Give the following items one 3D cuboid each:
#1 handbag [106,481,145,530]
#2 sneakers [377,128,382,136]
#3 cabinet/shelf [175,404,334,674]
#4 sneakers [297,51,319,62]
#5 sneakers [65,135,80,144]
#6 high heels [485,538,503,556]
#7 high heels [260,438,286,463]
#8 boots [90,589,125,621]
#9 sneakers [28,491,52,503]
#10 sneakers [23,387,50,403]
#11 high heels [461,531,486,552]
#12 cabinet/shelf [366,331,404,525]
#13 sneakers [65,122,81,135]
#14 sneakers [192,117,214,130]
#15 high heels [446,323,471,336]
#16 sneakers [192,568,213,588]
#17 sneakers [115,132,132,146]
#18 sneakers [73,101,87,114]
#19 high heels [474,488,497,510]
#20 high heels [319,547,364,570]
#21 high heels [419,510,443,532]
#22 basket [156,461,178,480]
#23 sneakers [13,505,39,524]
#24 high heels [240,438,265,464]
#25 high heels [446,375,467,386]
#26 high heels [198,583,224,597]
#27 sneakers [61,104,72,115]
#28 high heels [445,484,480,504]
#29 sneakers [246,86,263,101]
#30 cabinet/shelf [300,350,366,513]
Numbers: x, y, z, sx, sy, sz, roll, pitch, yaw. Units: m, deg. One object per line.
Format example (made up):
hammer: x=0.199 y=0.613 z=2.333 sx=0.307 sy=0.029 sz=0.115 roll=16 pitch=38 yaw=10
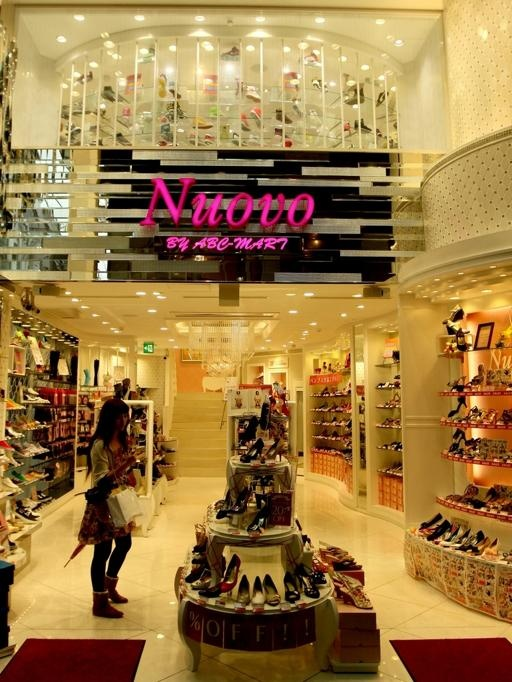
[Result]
handbag: x=-0.911 y=1.163 z=3.704 sx=0.149 sy=0.275 sz=0.239 roll=9 pitch=1 yaw=34
sneakers: x=1.963 y=-3.341 z=8.474 sx=0.076 sy=0.131 sz=0.085 roll=-7 pitch=-11 yaw=1
cabinet/shelf: x=0.016 y=1.376 z=3.653 sx=0.867 sy=1.255 sz=1.447 roll=-1 pitch=-14 yaw=0
sneakers: x=0.820 y=-4.473 z=8.299 sx=0.184 sy=0.085 sz=0.244 roll=0 pitch=1 yaw=-5
sneakers: x=-2.872 y=-3.147 z=8.272 sx=0.147 sy=0.194 sz=0.065 roll=-9 pitch=-10 yaw=-9
high heels: x=1.862 y=1.574 z=4.107 sx=0.130 sy=0.144 sz=0.373 roll=-8 pitch=-15 yaw=26
high heels: x=0.124 y=0.780 z=3.581 sx=0.108 sy=0.244 sz=0.085 roll=0 pitch=29 yaw=-9
boots: x=-1.019 y=1.882 z=3.784 sx=0.317 sy=0.209 sz=0.114 roll=0 pitch=-6 yaw=-4
sneakers: x=-2.836 y=2.045 z=6.974 sx=0.301 sy=0.125 sz=0.107 roll=1 pitch=-2 yaw=12
sneakers: x=-2.728 y=0.666 z=6.566 sx=0.274 sy=0.088 sz=0.200 roll=-1 pitch=0 yaw=1
high heels: x=1.760 y=1.619 z=4.285 sx=0.101 sy=0.118 sz=0.300 roll=-4 pitch=-12 yaw=32
cabinet/shelf: x=1.969 y=1.146 z=7.586 sx=0.303 sy=2.753 sz=0.593 roll=8 pitch=-16 yaw=-13
sneakers: x=-2.868 y=-3.345 z=8.422 sx=0.155 sy=0.183 sz=0.170 roll=8 pitch=1 yaw=-21
sneakers: x=-0.838 y=-3.351 z=8.189 sx=0.232 sy=0.186 sz=0.359 roll=7 pitch=2 yaw=-41
high heels: x=1.989 y=-0.110 z=5.124 sx=0.274 sy=0.111 sz=0.089 roll=-3 pitch=4 yaw=-1
sneakers: x=-0.317 y=1.422 z=3.160 sx=0.056 sy=0.068 sz=0.165 roll=-7 pitch=-16 yaw=13
sneakers: x=-2.051 y=-3.120 z=8.165 sx=0.212 sy=0.226 sz=0.334 roll=8 pitch=2 yaw=-27
sneakers: x=-2.891 y=-3.784 z=8.599 sx=0.115 sy=0.192 sz=0.132 roll=8 pitch=1 yaw=-32
high heels: x=2.015 y=1.375 z=4.619 sx=0.168 sy=0.180 sz=0.413 roll=9 pitch=2 yaw=27
high heels: x=0.607 y=1.598 z=3.924 sx=0.144 sy=0.077 sz=0.311 roll=5 pitch=1 yaw=0
high heels: x=1.696 y=1.751 z=5.156 sx=0.084 sy=0.308 sz=0.110 roll=42 pitch=-21 yaw=15
basket: x=-1.623 y=2.410 z=9.867 sx=0.383 sy=0.409 sz=0.432 roll=0 pitch=-8 yaw=2
sneakers: x=-2.359 y=1.778 z=5.463 sx=0.235 sy=0.081 sz=0.359 roll=8 pitch=2 yaw=-22
high heels: x=-0.020 y=0.735 z=3.511 sx=0.112 sy=0.070 sz=0.222 roll=-3 pitch=-47 yaw=-14
high heels: x=1.968 y=0.397 z=5.160 sx=0.119 sy=0.091 sz=0.193 roll=-1 pitch=19 yaw=32
high heels: x=-0.262 y=1.431 z=3.067 sx=0.123 sy=0.077 sz=0.107 roll=8 pitch=2 yaw=-5
sneakers: x=-3.000 y=-3.654 z=8.390 sx=0.091 sy=0.268 sz=0.112 roll=-8 pitch=-38 yaw=-21
high heels: x=1.995 y=1.445 z=5.005 sx=0.425 sy=0.187 sz=0.126 roll=12 pitch=-16 yaw=-27
sneakers: x=0.004 y=-4.038 z=8.728 sx=0.153 sy=0.187 sz=0.466 roll=-1 pitch=7 yaw=22
cabinet/shelf: x=1.407 y=1.682 z=9.606 sx=0.826 sy=2.583 sz=2.714 roll=2 pitch=-4 yaw=-6
